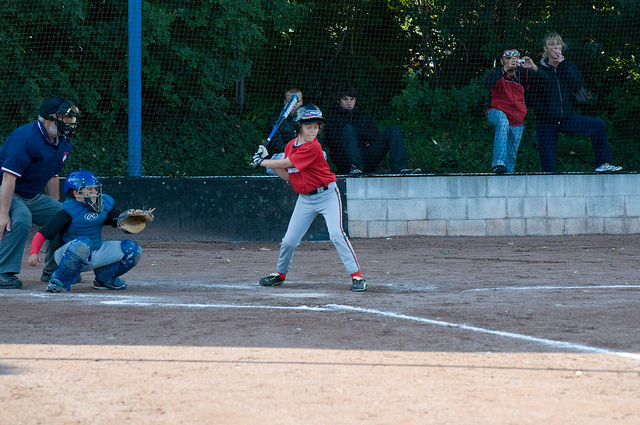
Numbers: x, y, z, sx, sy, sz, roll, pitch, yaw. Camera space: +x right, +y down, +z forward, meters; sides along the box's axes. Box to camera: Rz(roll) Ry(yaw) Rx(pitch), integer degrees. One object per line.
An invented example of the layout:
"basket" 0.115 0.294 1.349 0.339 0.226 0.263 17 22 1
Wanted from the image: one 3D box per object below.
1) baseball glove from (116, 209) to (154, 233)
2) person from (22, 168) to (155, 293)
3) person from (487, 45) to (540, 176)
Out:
"baseball glove" -2.413 0.066 12.764 0.427 0.263 0.197 -8 24 4
"person" -2.867 0.244 12.499 1.657 1.451 1.025 -1 11 -31
"person" 3.409 -1.786 17.696 0.817 2.252 0.670 1 3 13
